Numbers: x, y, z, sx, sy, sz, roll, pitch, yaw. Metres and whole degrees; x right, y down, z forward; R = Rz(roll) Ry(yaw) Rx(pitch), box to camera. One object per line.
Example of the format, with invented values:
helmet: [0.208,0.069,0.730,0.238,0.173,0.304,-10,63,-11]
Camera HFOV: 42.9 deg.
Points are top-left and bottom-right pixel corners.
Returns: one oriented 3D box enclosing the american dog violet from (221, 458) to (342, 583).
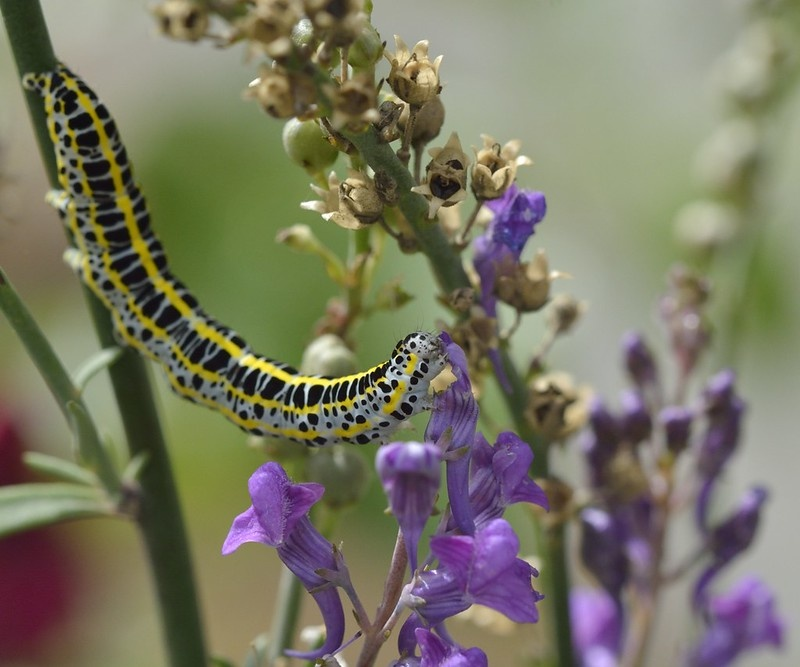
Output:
american dog violet: [-0.128,0.219,1.197,0.135,0.094,0.085,21,-49,-18]

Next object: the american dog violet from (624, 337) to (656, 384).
american dog violet: [0.334,0.038,1.439,0.035,0.023,0.075,-23,-95,12]

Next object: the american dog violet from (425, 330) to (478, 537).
american dog violet: [0.056,0.116,1.187,0.049,0.057,0.223,-7,-107,0]

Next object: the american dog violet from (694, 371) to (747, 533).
american dog violet: [0.432,0.143,1.399,0.053,0.070,0.259,13,-75,17]

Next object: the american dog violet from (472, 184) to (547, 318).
american dog violet: [0.148,-0.110,1.402,0.077,0.062,0.190,15,-85,13]
